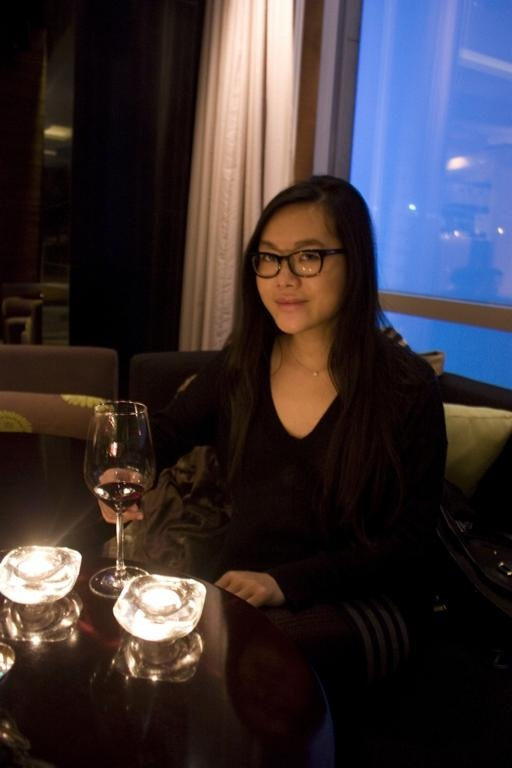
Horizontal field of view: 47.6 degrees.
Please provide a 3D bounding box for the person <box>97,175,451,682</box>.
[{"bbox_3d":[0.041,0.096,1.149,0.522,0.975,0.497,6,-8,-22],"label":"person"}]
